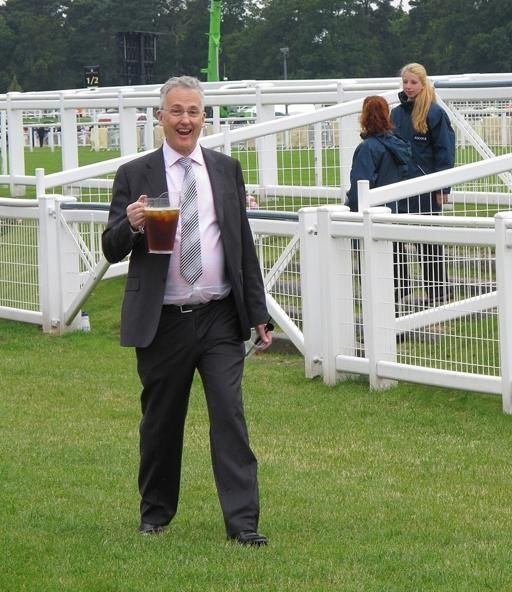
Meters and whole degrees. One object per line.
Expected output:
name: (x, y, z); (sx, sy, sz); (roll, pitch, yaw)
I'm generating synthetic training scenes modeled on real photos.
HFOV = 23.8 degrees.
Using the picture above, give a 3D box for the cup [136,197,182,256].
cup: (-0.373, -0.273, 4.815); (0.140, 0.237, 0.211); (-2, 8, -6)

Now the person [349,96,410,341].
person: (0.807, -0.694, 8.941); (0.506, 1.743, 0.520); (17, 33, 26)

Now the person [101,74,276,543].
person: (-0.285, 0.057, 5.051); (0.691, 1.917, 0.540); (-1, 7, 0)

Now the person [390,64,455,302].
person: (1.177, -0.917, 9.313); (0.527, 1.876, 0.596); (3, 37, 9)

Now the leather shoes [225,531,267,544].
leather shoes: (-0.027, 0.992, 4.909); (0.123, 0.059, 0.060); (-1, 4, 6)
